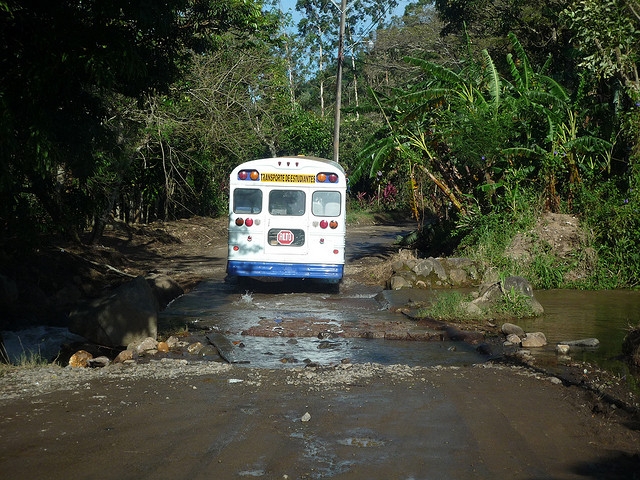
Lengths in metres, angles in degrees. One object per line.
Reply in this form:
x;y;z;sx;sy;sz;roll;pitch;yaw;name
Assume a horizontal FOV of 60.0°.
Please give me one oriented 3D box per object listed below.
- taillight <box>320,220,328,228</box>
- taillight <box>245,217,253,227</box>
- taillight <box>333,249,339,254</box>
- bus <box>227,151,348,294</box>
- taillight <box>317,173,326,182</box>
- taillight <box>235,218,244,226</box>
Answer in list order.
0.093;-0.401;14.190;0.176;0.208;0.114;1;-1;-1;taillight
-1.826;-0.447;14.194;0.173;0.201;0.110;14;6;6;taillight
0.417;0.314;14.180;0.103;0.121;0.037;-2;-3;0;taillight
-1.081;-1.923;16.761;3.484;3.942;6.110;0;32;-7;bus
0.051;-1.590;14.132;0.207;0.223;0.023;0;6;1;taillight
-2.057;-0.455;14.236;0.212;0.194;0.020;1;6;8;taillight
